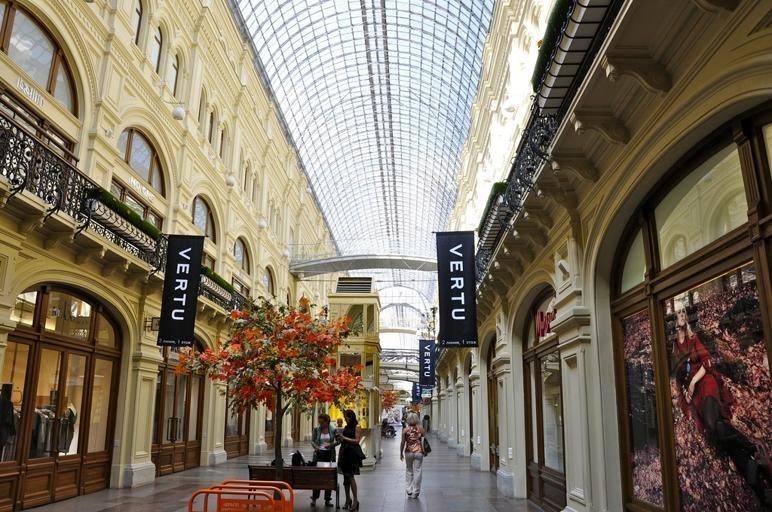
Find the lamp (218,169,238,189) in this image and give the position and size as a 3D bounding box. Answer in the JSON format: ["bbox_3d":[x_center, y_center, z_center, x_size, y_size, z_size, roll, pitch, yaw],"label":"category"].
[{"bbox_3d":[-7.688,-3.927,24.089,0.470,1.153,0.983,-1,-21,1],"label":"lamp"}]

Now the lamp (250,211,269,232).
[{"bbox_3d":[-7.447,-1.972,29.000,0.780,1.693,0.694,0,-24,-18],"label":"lamp"}]

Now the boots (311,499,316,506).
[{"bbox_3d":[-1.873,6.286,12.344,0.064,0.166,0.149,0,21,8],"label":"boots"}]

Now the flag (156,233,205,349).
[{"bbox_3d":[-6.082,0.997,14.380,1.086,3.407,0.094,6,0,-5],"label":"flag"}]

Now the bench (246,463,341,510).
[{"bbox_3d":[-2.089,5.440,11.342,1.870,1.003,1.410,-1,-22,-1],"label":"bench"}]

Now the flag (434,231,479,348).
[{"bbox_3d":[1.940,0.838,13.296,1.069,3.140,0.817,-4,-21,9],"label":"flag"}]
